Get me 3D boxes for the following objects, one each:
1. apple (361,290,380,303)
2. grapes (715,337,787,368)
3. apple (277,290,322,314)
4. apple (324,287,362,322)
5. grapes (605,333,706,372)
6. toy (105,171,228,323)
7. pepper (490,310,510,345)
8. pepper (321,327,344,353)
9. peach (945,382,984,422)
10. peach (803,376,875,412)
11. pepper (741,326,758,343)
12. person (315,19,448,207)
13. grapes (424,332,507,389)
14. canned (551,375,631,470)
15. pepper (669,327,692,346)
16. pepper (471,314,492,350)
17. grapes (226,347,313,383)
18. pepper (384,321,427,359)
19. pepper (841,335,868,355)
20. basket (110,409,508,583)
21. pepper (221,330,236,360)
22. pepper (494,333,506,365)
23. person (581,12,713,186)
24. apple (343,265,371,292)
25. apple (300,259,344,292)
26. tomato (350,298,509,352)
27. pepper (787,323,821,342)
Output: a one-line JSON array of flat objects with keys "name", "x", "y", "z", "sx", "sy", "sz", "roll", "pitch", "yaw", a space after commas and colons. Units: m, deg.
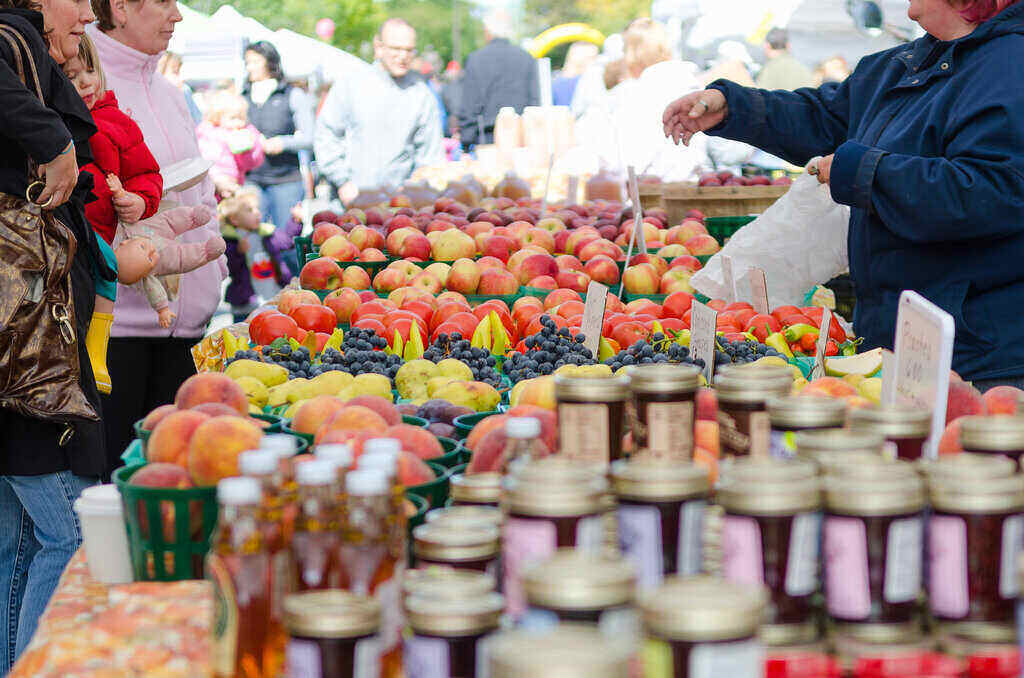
[{"name": "apple", "x": -0.633, "y": -0.189, "z": 5.156, "sx": 0.052, "sy": 0.049, "sz": 0.058, "roll": 12, "pitch": -16, "yaw": -15}, {"name": "grapes", "x": 0.827, "y": 0.042, "z": 4.092, "sx": 0.205, "sy": 0.083, "sz": 0.147, "roll": 1, "pitch": 3, "yaw": 2}, {"name": "apple", "x": -0.931, "y": -0.151, "z": 5.088, "sx": 0.122, "sy": 0.119, "sz": 0.124, "roll": -2, "pitch": -3, "yaw": 43}, {"name": "apple", "x": -0.737, "y": -0.173, "z": 5.067, "sx": 0.148, "sy": 0.144, "sz": 0.145, "roll": -25, "pitch": 13, "yaw": -6}, {"name": "grapes", "x": 0.491, "y": 0.031, "z": 4.032, "sx": 0.287, "sy": 0.100, "sz": 0.258, "roll": -1, "pitch": 11, "yaw": 4}, {"name": "toy", "x": -1.499, "y": -0.401, "z": 5.143, "sx": 0.227, "sy": 0.565, "sz": 0.620, "roll": -10, "pitch": 22, "yaw": 22}, {"name": "pepper", "x": -0.062, "y": -0.057, "z": 4.623, "sx": 0.046, "sy": 0.153, "sz": 0.050, "roll": -33, "pitch": -35, "yaw": 17}, {"name": "pepper", "x": -0.692, "y": 0.001, "z": 4.538, "sx": 0.062, "sy": 0.050, "sz": 0.120, "roll": 10, "pitch": 35, "yaw": -14}, {"name": "peach", "x": 1.218, "y": 0.164, "z": 3.128, "sx": 0.110, "sy": 0.124, "sz": 0.107, "roll": -1, "pitch": 1, "yaw": -6}, {"name": "peach", "x": 0.888, "y": 0.144, "z": 3.174, "sx": 0.131, "sy": 0.118, "sz": 0.130, "roll": 1, "pitch": 8, "yaw": 14}, {"name": "pepper", "x": 0.911, "y": -0.017, "z": 4.445, "sx": 0.048, "sy": 0.027, "sz": 0.060, "roll": 16, "pitch": 22, "yaw": -26}, {"name": "person", "x": -1.078, "y": -1.738, "z": 9.390, "sx": 0.743, "sy": 1.656, "sz": 0.826, "roll": -6, "pitch": 16, "yaw": -12}, {"name": "grapes", "x": -0.162, "y": 0.060, "z": 4.196, "sx": 0.269, "sy": 0.122, "sz": 0.161, "roll": 32, "pitch": 8, "yaw": 24}, {"name": "canned", "x": 0.184, "y": 0.205, "z": 2.819, "sx": 0.202, "sy": 0.199, "sz": 0.195, "roll": 0, "pitch": 2, "yaw": -1}, {"name": "pepper", "x": 0.633, "y": -0.011, "z": 4.314, "sx": 0.053, "sy": 0.073, "sz": 0.055, "roll": -14, "pitch": 9, "yaw": 46}, {"name": "pepper", "x": -0.112, "y": -0.028, "z": 4.539, "sx": 0.055, "sy": 0.135, "sz": 0.042, "roll": 0, "pitch": -31, "yaw": 26}, {"name": "grapes", "x": -0.858, "y": 0.070, "z": 4.152, "sx": 0.260, "sy": 0.097, "sz": 0.143, "roll": -2, "pitch": 16, "yaw": 7}, {"name": "pepper", "x": -0.408, "y": 0.003, "z": 4.445, "sx": 0.126, "sy": 0.141, "sz": 0.116, "roll": 0, "pitch": -8, "yaw": -13}, {"name": "pepper", "x": 1.321, "y": 0.022, "z": 4.527, "sx": 0.072, "sy": 0.041, "sz": 0.093, "roll": -8, "pitch": 0, "yaw": 5}, {"name": "basket", "x": -0.684, "y": 0.454, "z": 3.347, "sx": 0.748, "sy": 0.418, "sz": 0.532, "roll": -9, "pitch": 11, "yaw": 8}, {"name": "pepper", "x": -1.080, "y": 0.023, "z": 4.419, "sx": 0.031, "sy": 0.025, "sz": 0.105, "roll": -18, "pitch": 31, "yaw": 4}, {"name": "pepper", "x": -0.039, "y": 0.039, "z": 4.553, "sx": 0.035, "sy": 0.112, "sz": 0.035, "roll": 9, "pitch": 0, "yaw": 4}, {"name": "person", "x": 0.996, "y": -1.859, "z": 9.407, "sx": 0.932, "sy": 1.727, "sz": 0.900, "roll": -8, "pitch": 19, "yaw": -8}, {"name": "apple", "x": -0.759, "y": -0.301, "z": 5.692, "sx": 0.134, "sy": 0.111, "sz": 0.205, "roll": -5, "pitch": 10, "yaw": -6}, {"name": "apple", "x": -0.907, "y": -0.329, "z": 5.611, "sx": 0.163, "sy": 0.157, "sz": 0.167, "roll": -7, "pitch": 16, "yaw": -33}, {"name": "tomato", "x": -0.148, "y": -0.073, "z": 4.665, "sx": 0.240, "sy": 0.088, "sz": 0.232, "roll": 1, "pitch": 10, "yaw": -14}, {"name": "pepper", "x": 1.138, "y": -0.033, "z": 4.540, "sx": 0.160, "sy": 0.044, "sz": 0.049, "roll": -14, "pitch": 12, "yaw": -34}]
